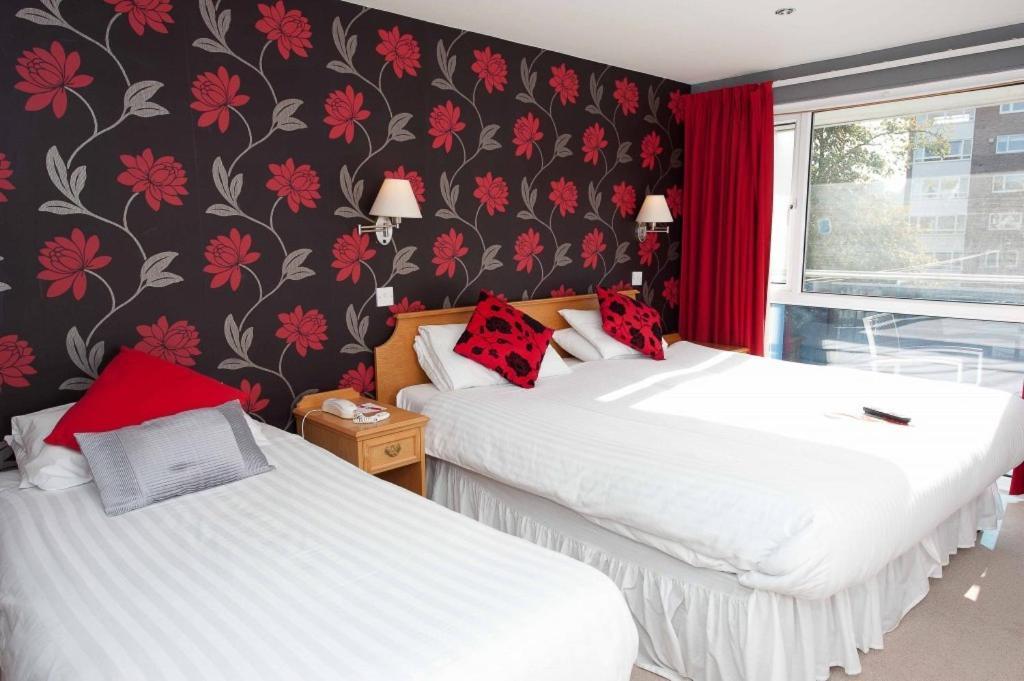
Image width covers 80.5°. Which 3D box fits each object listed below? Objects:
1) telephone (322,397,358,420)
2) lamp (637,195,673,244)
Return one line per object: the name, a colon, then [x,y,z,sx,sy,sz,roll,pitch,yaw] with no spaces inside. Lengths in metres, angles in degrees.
telephone: [-0.993,0.384,3.520,0.188,0.055,0.111,13,15,39]
lamp: [1.211,-1.056,5.210,0.293,0.397,0.504,0,12,11]
